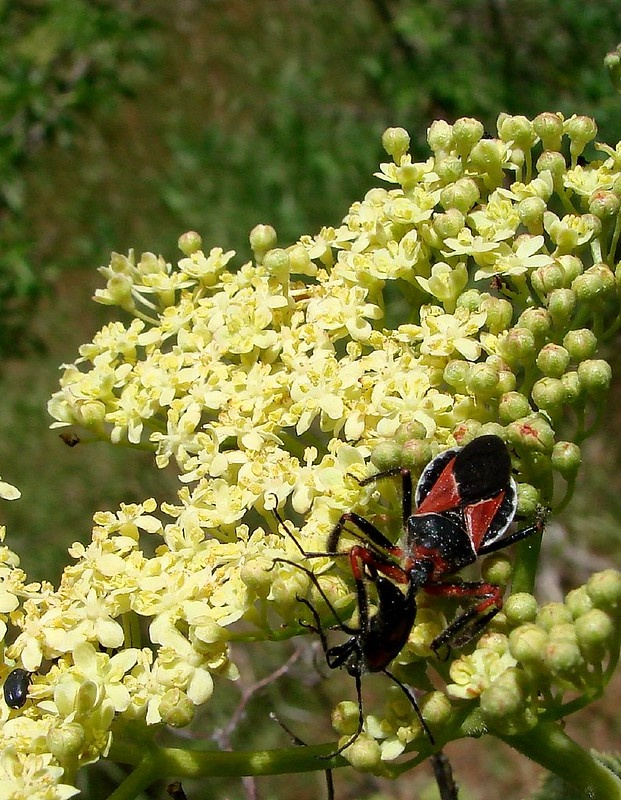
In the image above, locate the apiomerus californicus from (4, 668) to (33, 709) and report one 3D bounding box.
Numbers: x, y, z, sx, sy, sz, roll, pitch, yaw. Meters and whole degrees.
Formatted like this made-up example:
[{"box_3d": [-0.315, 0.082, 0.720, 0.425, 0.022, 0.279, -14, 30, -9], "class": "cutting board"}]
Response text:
[{"box_3d": [-0.651, 0.643, 2.211, 0.051, 0.066, 0.075, 11, 72, -18], "class": "apiomerus californicus"}]
